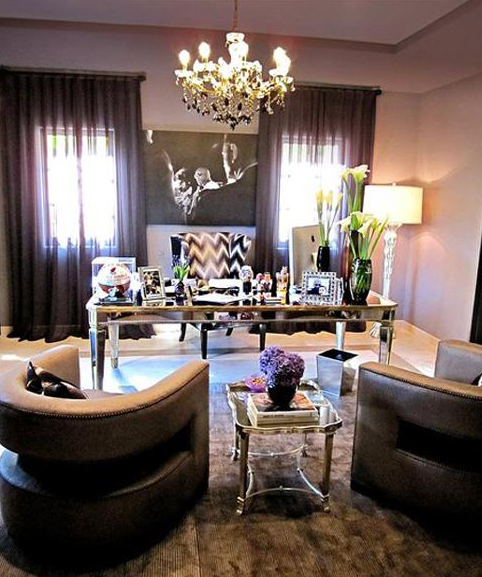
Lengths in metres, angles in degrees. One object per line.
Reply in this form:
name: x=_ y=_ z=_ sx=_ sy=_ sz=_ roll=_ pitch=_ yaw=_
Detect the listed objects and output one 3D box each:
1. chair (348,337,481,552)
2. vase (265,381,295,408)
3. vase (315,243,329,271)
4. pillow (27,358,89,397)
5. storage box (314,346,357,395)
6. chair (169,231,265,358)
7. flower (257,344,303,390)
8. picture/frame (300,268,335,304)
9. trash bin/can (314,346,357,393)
chair: x=0.616 y=0.505 z=1.708 sx=0.533 sy=0.483 sz=0.550 roll=1 pitch=11 yaw=-14
vase: x=0.155 y=0.399 z=1.767 sx=0.098 sy=0.080 sz=0.094 roll=-8 pitch=16 yaw=-30
vase: x=0.516 y=-0.199 z=2.871 sx=0.081 sy=0.163 sz=0.291 roll=3 pitch=8 yaw=9
pillow: x=-0.609 y=0.303 z=1.475 sx=0.148 sy=0.176 sz=0.050 roll=6 pitch=45 yaw=-28
storage box: x=0.606 y=0.514 z=2.995 sx=0.217 sy=0.262 sz=0.192 roll=15 pitch=24 yaw=41
chair: x=-0.255 y=-0.072 z=3.758 sx=0.655 sy=0.924 sz=0.707 roll=3 pitch=-1 yaw=8
flower: x=0.152 y=0.291 z=1.761 sx=0.130 sy=0.087 sz=0.170 roll=1 pitch=22 yaw=-4
picture/frame: x=0.462 y=-0.009 z=2.712 sx=0.206 sy=0.224 sz=0.021 roll=0 pitch=-2 yaw=-2
trash bin/can: x=0.610 y=0.498 z=2.993 sx=0.289 sy=0.374 sz=0.256 roll=1 pitch=2 yaw=36
